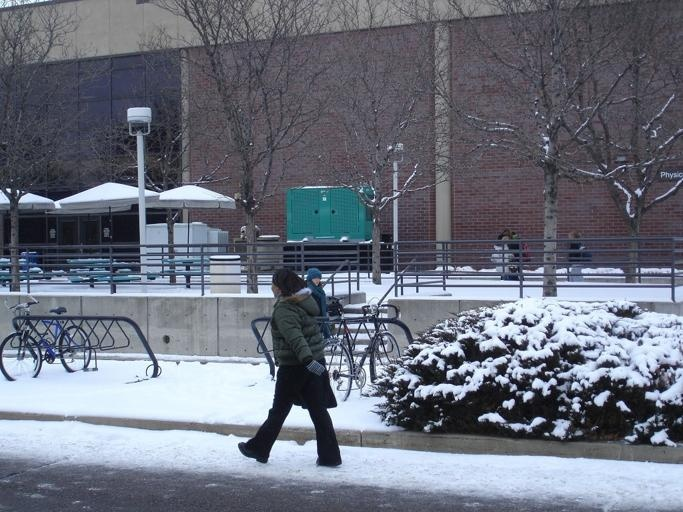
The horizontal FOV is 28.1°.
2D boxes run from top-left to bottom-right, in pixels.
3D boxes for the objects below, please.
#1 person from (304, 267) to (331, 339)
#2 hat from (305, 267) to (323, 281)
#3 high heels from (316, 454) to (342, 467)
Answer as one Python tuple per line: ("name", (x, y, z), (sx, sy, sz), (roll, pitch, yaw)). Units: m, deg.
("person", (-0.419, 0.977, 27.901), (0.545, 1.371, 0.522), (4, 3, 23))
("hat", (-0.583, 0.404, 27.833), (0.277, 0.268, 0.222), (0, -2, 21))
("high heels", (-0.235, 3.803, 25.104), (0.304, 0.226, 0.238), (-3, -10, 17))
